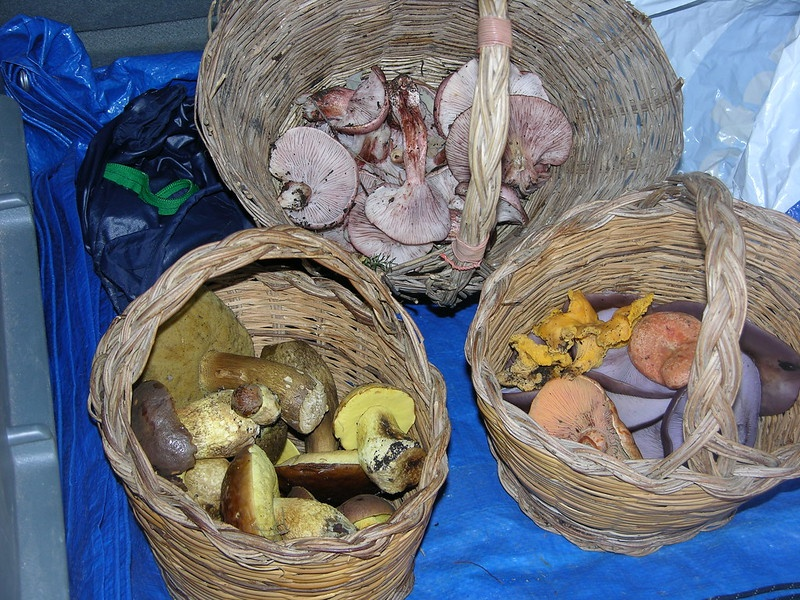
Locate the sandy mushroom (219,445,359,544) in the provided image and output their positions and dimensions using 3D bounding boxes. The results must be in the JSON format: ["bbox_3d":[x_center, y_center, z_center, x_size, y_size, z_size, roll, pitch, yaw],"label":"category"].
[{"bbox_3d":[-0.195,0.366,1.468,0.275,0.154,0.148,8,23,28],"label":"sandy mushroom"}]

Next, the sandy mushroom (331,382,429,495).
[{"bbox_3d":[-0.040,0.269,1.614,0.155,0.176,0.229,9,29,-26],"label":"sandy mushroom"}]

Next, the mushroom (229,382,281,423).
[{"bbox_3d":[-0.281,0.193,1.565,0.094,0.044,0.082,21,59,0],"label":"mushroom"}]

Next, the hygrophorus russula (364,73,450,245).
[{"bbox_3d":[0.023,-0.332,1.923,0.188,0.351,0.255,0,20,7],"label":"hygrophorus russula"}]

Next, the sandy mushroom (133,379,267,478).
[{"bbox_3d":[-0.400,0.246,1.589,0.238,0.151,0.095,-17,-6,-26],"label":"sandy mushroom"}]
